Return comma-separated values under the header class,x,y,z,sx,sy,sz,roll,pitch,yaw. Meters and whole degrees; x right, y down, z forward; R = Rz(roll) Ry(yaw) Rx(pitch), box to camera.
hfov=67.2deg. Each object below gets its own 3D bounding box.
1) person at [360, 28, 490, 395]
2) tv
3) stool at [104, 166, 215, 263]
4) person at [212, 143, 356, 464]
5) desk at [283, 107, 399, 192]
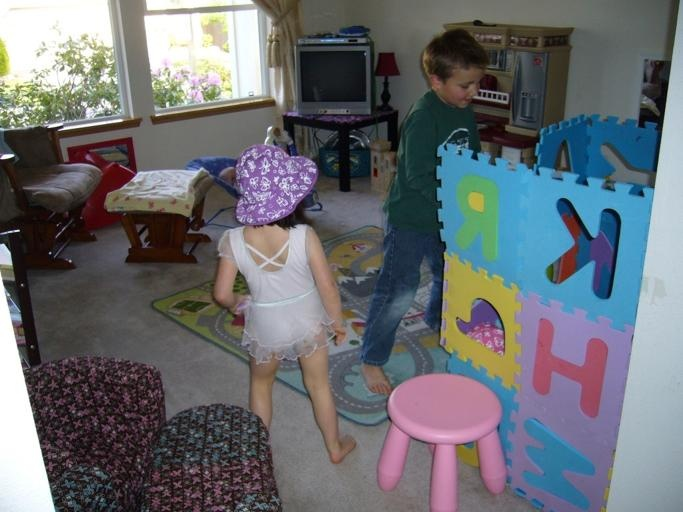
class,x,y,z,sx,sy,sz,roll,pitch,yaw
person,0.408,-0.149,2.575,0.542,1.797,0.502,13,25,36
tv,-0.063,-1.999,6.020,0.925,0.873,0.726,1,21,4
stool,-1.597,-0.419,4.518,0.741,0.684,1.094,1,32,-1
person,-0.271,0.248,2.304,0.563,1.479,0.497,3,24,9
desk,0.046,-1.403,6.138,1.118,0.863,1.099,-26,39,-33
